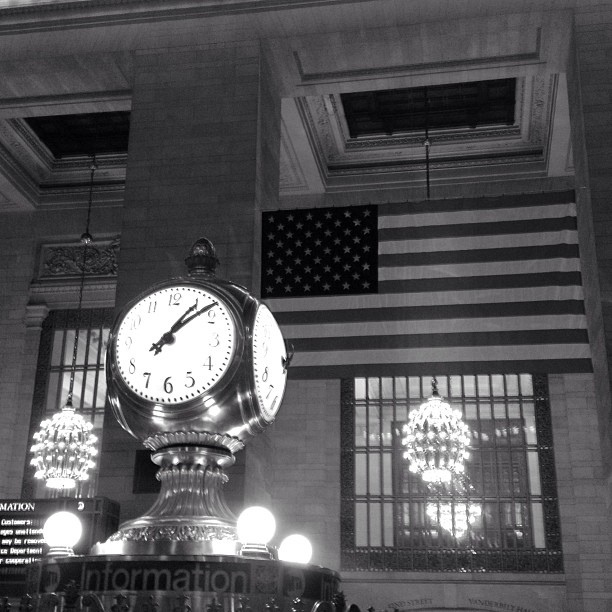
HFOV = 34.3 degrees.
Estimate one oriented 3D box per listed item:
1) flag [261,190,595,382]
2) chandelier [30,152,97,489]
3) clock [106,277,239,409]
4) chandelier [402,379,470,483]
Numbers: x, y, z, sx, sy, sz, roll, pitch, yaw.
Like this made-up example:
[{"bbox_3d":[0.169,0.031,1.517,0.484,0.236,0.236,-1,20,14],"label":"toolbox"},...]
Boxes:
[{"bbox_3d":[1.093,-0.163,8.992,2.783,1.775,0.039,-3,-22,8],"label":"flag"},{"bbox_3d":[-3.478,-0.664,15.214,0.896,6.865,0.660,-17,-24,39],"label":"chandelier"},{"bbox_3d":[-0.398,0.121,2.910,0.361,0.372,0.087,-12,-13,9],"label":"clock"},{"bbox_3d":[1.695,1.767,13.247,1.189,1.833,1.215,-3,-19,6],"label":"chandelier"}]
